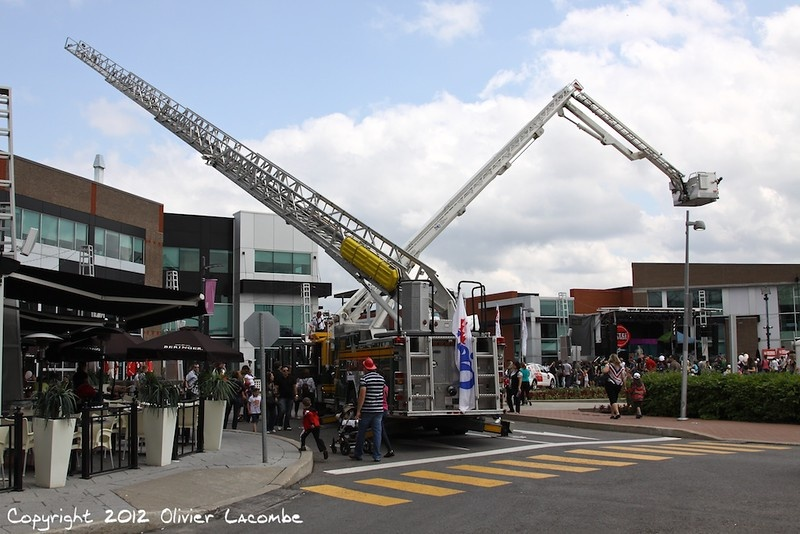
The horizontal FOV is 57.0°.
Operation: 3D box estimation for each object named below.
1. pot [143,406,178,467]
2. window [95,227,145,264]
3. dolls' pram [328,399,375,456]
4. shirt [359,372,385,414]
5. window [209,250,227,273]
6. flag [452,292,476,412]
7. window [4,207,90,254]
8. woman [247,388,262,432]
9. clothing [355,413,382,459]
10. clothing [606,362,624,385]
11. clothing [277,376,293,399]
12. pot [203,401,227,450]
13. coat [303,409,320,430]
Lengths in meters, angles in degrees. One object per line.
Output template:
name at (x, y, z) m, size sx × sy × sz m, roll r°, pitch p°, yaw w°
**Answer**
pot at (-5.752, 4.028, 17.551) m, size 0.775 × 1.394 × 0.639 m, roll 0°, pitch -12°, yaw -14°
window at (-18.932, -1.394, 49.353) m, size 3.096 × 1.009 × 0.062 m, roll 9°, pitch -3°, yaw -21°
dolls' pram at (-1.326, 4.407, 20.094) m, size 1.105 × 1.240 × 1.014 m, roll -6°, pitch -15°, yaw 39°
shirt at (-0.737, 3.258, 18.803) m, size 1.003 × 1.116 × 0.656 m, roll 1°, pitch -5°, yaw -17°
window at (-15.207, -0.500, 60.892) m, size 1.911 × 1.778 × 0.969 m, roll -1°, pitch 2°, yaw -34°
flag at (1.833, 2.450, 21.291) m, size 0.478 × 3.362 × 0.581 m, roll -12°, pitch -15°, yaw 38°
window at (-21.753, -1.872, 44.756) m, size 0.246 × 2.790 × 11.582 m, roll -11°, pitch 14°, yaw -40°
woman at (-4.997, 4.818, 25.071) m, size 0.379 × 1.513 × 1.804 m, roll -1°, pitch -12°, yaw -12°
clothing at (-0.804, 4.231, 18.872) m, size 0.657 × 1.360 × 0.406 m, roll 4°, pitch -4°, yaw -4°
clothing at (7.583, 3.793, 26.176) m, size 0.862 × 0.766 × 0.463 m, roll 1°, pitch -1°, yaw 10°
clothing at (-3.955, 4.091, 25.096) m, size 0.772 × 0.824 × 0.476 m, roll 2°, pitch -6°, yaw -22°
pot at (-4.987, 4.209, 19.659) m, size 0.567 × 1.323 × 0.344 m, roll -1°, pitch -12°, yaw -11°
coat at (-2.328, 3.946, 19.113) m, size 0.372 × 0.498 × 0.341 m, roll 0°, pitch -12°, yaw -12°
